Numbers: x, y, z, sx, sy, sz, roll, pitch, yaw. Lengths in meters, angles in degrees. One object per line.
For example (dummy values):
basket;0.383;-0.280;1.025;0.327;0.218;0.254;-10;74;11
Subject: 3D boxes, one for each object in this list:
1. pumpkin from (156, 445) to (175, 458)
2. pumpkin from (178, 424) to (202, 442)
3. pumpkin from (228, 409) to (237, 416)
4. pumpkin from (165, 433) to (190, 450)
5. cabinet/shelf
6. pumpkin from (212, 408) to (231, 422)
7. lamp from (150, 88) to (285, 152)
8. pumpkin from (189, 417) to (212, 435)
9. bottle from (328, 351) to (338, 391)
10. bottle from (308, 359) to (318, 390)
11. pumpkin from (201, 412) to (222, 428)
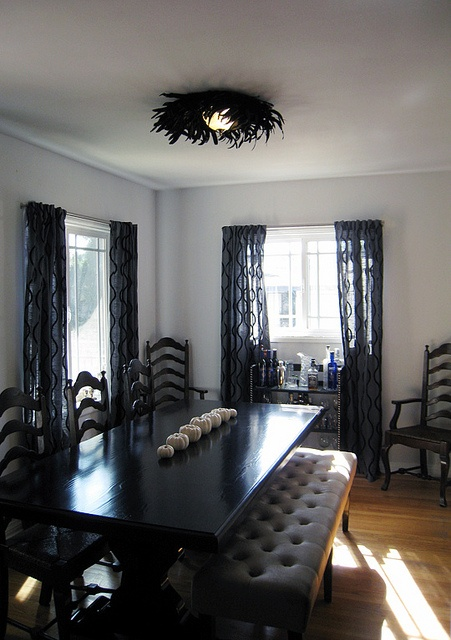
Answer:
pumpkin;-0.256;0.582;2.314;0.048;0.053;0.050;3;-5;-12
pumpkin;-0.166;0.544;2.562;0.076;0.078;0.079;6;-5;24
pumpkin;0.048;0.535;3.066;0.039;0.045;0.036;-35;18;-30
pumpkin;-0.215;0.554;2.429;0.067;0.072;0.071;3;1;24
cabinet/shelf;0.554;0.628;3.828;0.658;0.750;0.210;0;-4;13
pumpkin;-0.005;0.538;2.963;0.067;0.071;0.071;0;-7;5
lamp;-0.030;-1.023;2.689;0.637;0.229;0.381;0;1;2
pumpkin;-0.134;0.546;2.727;0.079;0.084;0.081;3;-1;-33
bottle;0.898;0.427;4.367;0.073;0.298;0.186;0;1;10
bottle;0.739;0.456;4.420;0.073;0.234;0.132;0;1;9
pumpkin;-0.069;0.544;2.844;0.075;0.080;0.078;4;-4;-22
